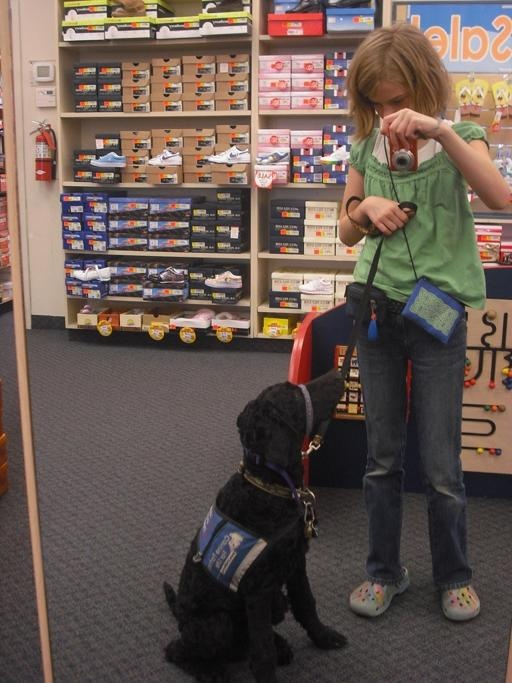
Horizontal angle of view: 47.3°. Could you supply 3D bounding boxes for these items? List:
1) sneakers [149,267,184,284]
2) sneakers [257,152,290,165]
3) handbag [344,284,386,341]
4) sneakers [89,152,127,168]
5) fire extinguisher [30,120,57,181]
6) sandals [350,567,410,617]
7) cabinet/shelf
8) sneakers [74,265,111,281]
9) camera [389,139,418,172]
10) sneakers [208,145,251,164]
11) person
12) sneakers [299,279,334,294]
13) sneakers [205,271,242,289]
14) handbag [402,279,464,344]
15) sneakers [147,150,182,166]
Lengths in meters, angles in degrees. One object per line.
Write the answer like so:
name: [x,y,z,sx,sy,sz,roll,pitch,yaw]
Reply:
sneakers: [-0.614,-0.461,4.102,0.274,0.114,0.100,6,8,6]
sneakers: [0.102,-1.179,3.789,0.246,0.101,0.087,2,14,-1]
handbag: [0.223,-0.060,1.220,0.043,0.109,0.085,-3,12,-33]
sneakers: [-0.989,-1.241,3.985,0.252,0.107,0.091,5,18,5]
fire extinguisher: [-1.495,-1.357,4.139,0.182,0.394,0.169,-10,15,-18]
sandals: [0.293,0.593,1.409,0.063,0.068,0.152,4,6,34]
cabinet/shelf: [-0.229,-1.086,3.507,2.320,2.157,0.672,0,9,4]
sneakers: [-1.135,-0.487,4.117,0.271,0.113,0.097,5,13,3]
camera: [0.264,-0.330,1.045,0.047,0.050,0.127,-2,15,14]
sneakers: [-0.156,-1.202,3.768,0.314,0.132,0.103,1,13,-2]
person: [0.331,0.034,1.245,0.325,1.265,0.372,-11,15,-22]
sneakers: [0.395,-0.354,3.738,0.245,0.110,0.088,3,8,-1]
sneakers: [-0.210,-0.416,3.946,0.261,0.111,0.098,3,10,5]
handbag: [0.341,-0.061,1.173,0.121,0.115,0.036,32,-1,-13]
sneakers: [-0.588,-1.216,3.875,0.256,0.107,0.088,2,20,5]
